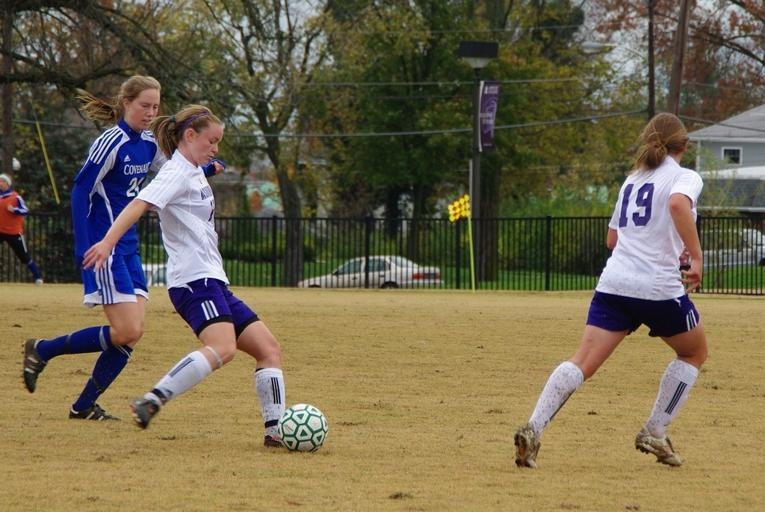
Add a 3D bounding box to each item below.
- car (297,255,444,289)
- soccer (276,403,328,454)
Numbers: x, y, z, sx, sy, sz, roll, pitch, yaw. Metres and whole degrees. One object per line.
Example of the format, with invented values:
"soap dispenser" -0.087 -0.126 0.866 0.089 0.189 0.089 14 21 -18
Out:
"car" -0.356 0.584 38.071 4.033 1.224 1.603 -2 5 24
"soccer" -1.385 3.021 23.373 0.861 0.804 0.787 5 -24 -14
